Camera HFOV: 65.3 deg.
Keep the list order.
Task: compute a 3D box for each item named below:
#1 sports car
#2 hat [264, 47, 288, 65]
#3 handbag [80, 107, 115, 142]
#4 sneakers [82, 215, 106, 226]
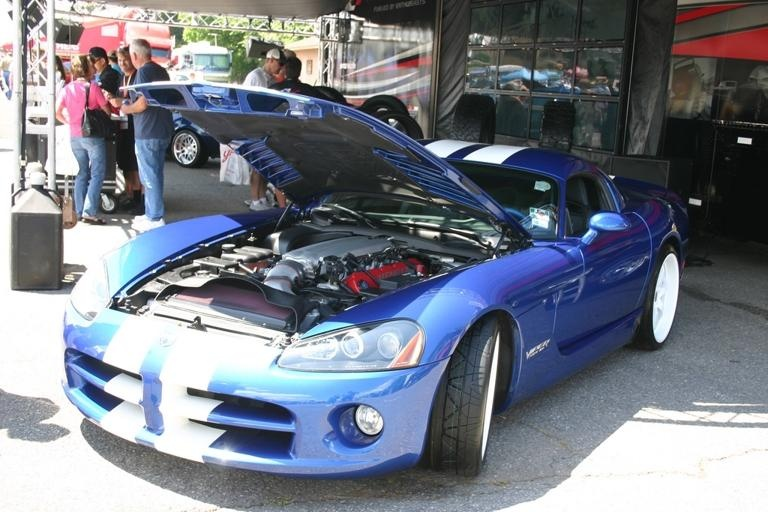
[{"bbox_3d":[0.329,0.179,4.276,2.419,1.559,3.882,12,16,40],"label":"sports car"},{"bbox_3d":[-1.741,-3.258,9.748,0.328,0.241,0.396,-6,16,-29],"label":"hat"},{"bbox_3d":[-4.079,-1.864,8.468,0.192,0.418,0.446,11,16,42],"label":"handbag"},{"bbox_3d":[-4.201,-0.521,8.651,0.257,0.090,0.132,3,20,-13],"label":"sneakers"}]
